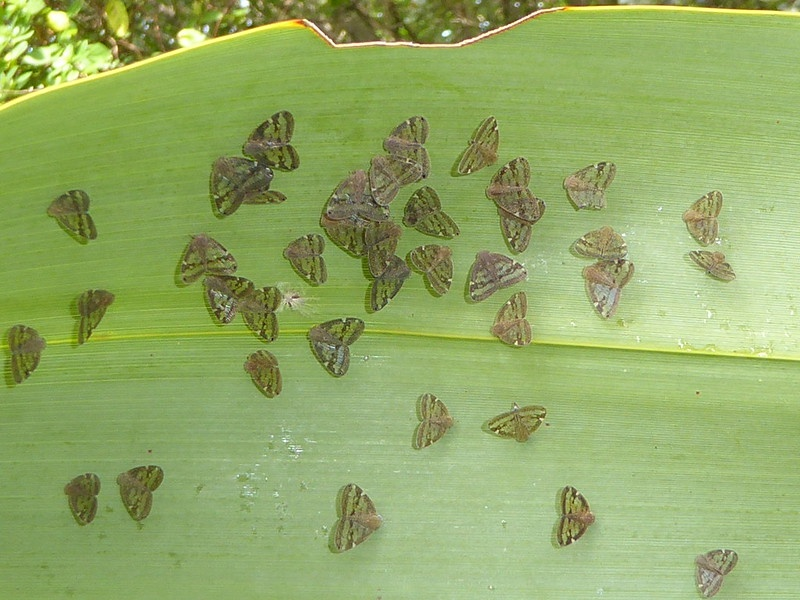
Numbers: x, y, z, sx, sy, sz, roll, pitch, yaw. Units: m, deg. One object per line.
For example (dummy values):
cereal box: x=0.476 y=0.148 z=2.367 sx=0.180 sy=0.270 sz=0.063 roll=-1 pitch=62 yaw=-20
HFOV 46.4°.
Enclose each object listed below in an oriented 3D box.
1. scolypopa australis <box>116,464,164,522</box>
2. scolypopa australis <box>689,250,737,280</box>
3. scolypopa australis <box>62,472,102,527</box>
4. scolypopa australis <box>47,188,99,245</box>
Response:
scolypopa australis: x=-1.126 y=0.808 z=3.934 sx=0.168 sy=0.112 sz=0.239 roll=17 pitch=67 yaw=18
scolypopa australis: x=1.349 y=-0.152 z=4.011 sx=0.110 sy=0.104 sz=0.183 roll=-42 pitch=64 yaw=-9
scolypopa australis: x=-1.353 y=0.831 z=3.883 sx=0.202 sy=0.061 sz=0.188 roll=-2 pitch=91 yaw=-4
scolypopa australis: x=-1.360 y=-0.353 z=3.922 sx=0.182 sy=0.132 sz=0.205 roll=-35 pitch=63 yaw=-7
